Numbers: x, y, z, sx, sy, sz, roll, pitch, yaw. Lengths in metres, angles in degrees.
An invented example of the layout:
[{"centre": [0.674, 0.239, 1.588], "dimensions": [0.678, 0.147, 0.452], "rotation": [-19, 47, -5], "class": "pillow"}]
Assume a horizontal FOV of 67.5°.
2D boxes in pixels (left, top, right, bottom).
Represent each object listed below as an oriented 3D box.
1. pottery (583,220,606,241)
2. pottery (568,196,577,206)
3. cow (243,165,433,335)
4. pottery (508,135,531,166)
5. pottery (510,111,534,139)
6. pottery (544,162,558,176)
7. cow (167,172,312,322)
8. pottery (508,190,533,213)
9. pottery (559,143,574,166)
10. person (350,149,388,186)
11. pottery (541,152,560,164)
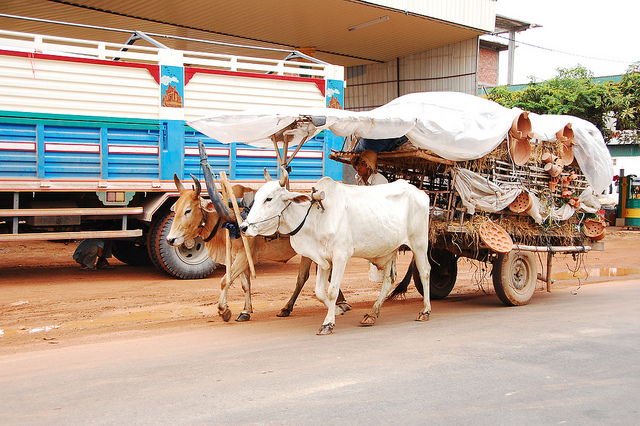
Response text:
[{"centre": [5.440, 0.363, 9.564], "dimensions": [0.397, 0.423, 0.269], "rotation": [2, 4, 20], "class": "pottery"}, {"centre": [4.775, -0.216, 9.119], "dimensions": [0.114, 0.046, 0.172], "rotation": [19, 53, 39], "class": "pottery"}, {"centre": [0.319, 0.594, 7.458], "dimensions": [3.446, 2.234, 1.107], "rotation": [3, -9, -34], "class": "cow"}, {"centre": [3.495, -1.116, 8.464], "dimensions": [0.452, 0.524, 0.156], "rotation": [-1, 4, -20], "class": "pottery"}, {"centre": [3.536, -1.556, 8.398], "dimensions": [0.468, 0.491, 0.184], "rotation": [-2, 5, -36], "class": "pottery"}, {"centre": [4.217, -0.815, 8.771], "dimensions": [0.227, 0.256, 0.115], "rotation": [2, 4, 19], "class": "pottery"}, {"centre": [-1.037, 0.703, 8.226], "dimensions": [3.454, 2.257, 0.913], "rotation": [5, -7, -43], "class": "cow"}, {"centre": [3.552, -0.197, 8.466], "dimensions": [0.360, 0.346, 0.136], "rotation": [23, 15, 36], "class": "pottery"}, {"centre": [4.645, -1.109, 9.050], "dimensions": [0.336, 0.404, 0.126], "rotation": [-2, 5, -34], "class": "pottery"}, {"centre": [0.788, -0.778, 8.293], "dimensions": [0.515, 0.287, 0.748], "rotation": [-1, -28, 46], "class": "person"}, {"centre": [4.237, -1.027, 8.879], "dimensions": [0.248, 0.230, 0.255], "rotation": [3, 4, 33], "class": "pottery"}]
